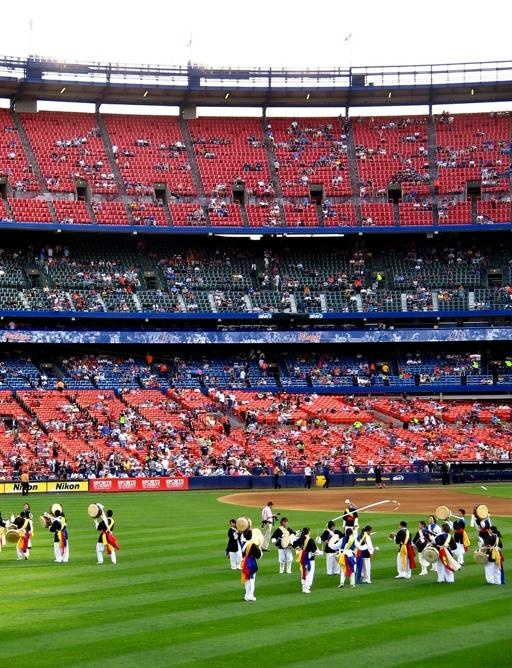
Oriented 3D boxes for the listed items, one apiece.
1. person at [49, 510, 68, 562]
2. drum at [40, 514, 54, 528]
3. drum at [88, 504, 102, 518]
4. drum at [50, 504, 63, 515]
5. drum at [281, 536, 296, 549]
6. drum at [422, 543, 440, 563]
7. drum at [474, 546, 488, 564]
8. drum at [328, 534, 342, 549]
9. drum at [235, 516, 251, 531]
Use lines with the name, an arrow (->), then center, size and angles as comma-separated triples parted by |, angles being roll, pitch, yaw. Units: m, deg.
person -> -5.011, 5.166, 32.147 | 0.452, 1.513, 1.021 | -2, 10, -10
drum -> -5.268, 4.826, 32.048 | 0.346, 0.387, 0.377 | 6, 16, -19
drum -> -3.942, 4.437, 30.956 | 0.291, 0.463, 0.711 | -2, 9, -7
drum -> -5.036, 4.451, 31.878 | 0.246, 0.294, 0.232 | -1, 10, 0
drum -> 0.767, 4.833, 29.407 | 0.309, 0.387, 0.148 | 17, -18, -17
drum -> 4.083, 5.066, 29.016 | 0.373, 0.356, 0.360 | -30, 15, 11
drum -> 5.138, 5.070, 28.547 | 0.338, 0.312, 0.309 | 11, 26, 20
drum -> 1.836, 4.778, 28.787 | 0.269, 0.347, 0.124 | 17, -8, -41
drum -> -0.275, 4.374, 28.825 | 0.309, 0.220, 0.309 | -2, 41, 2
